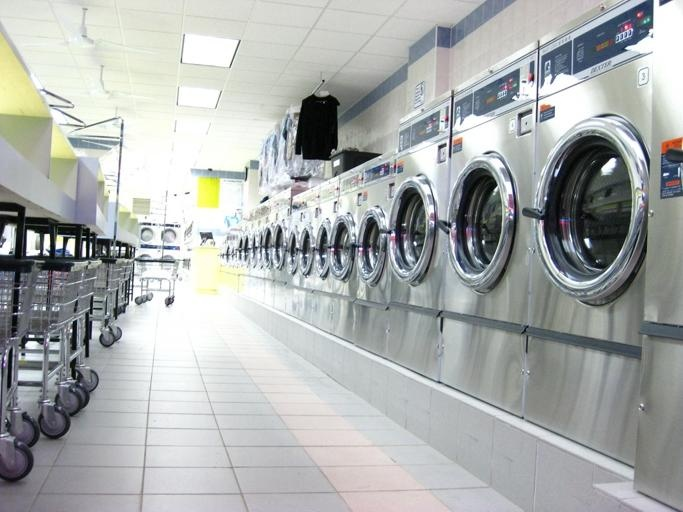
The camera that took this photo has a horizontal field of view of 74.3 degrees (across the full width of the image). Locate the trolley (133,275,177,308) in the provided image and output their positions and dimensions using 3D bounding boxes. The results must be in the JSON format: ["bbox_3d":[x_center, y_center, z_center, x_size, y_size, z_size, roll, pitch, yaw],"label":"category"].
[{"bbox_3d":[-4.873,0.918,11.778,1.042,0.718,0.669,1,-1,-8],"label":"trolley"}]
